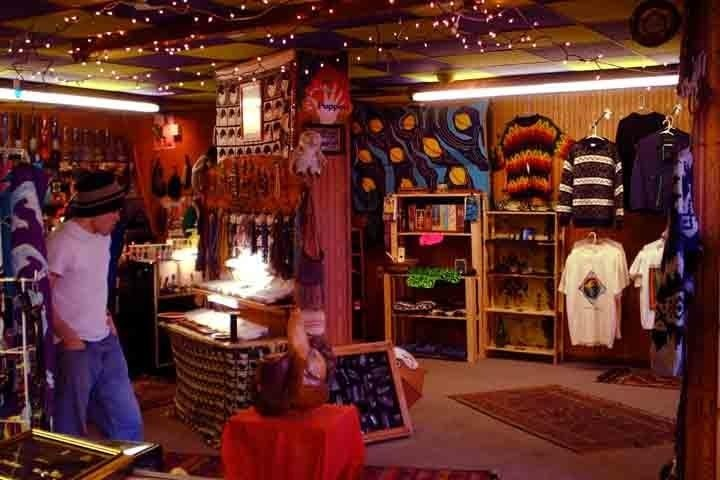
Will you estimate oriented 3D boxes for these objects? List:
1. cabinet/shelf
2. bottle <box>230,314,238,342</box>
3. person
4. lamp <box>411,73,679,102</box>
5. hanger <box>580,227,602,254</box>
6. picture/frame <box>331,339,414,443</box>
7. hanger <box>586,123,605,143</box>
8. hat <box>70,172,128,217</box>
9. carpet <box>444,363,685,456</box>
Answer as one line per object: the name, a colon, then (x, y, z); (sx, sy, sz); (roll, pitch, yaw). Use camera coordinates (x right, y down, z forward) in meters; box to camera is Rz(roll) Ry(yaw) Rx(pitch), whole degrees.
cabinet/shelf: (1.738, 0.538, 8.976); (2.423, 2.364, 0.719); (0, 0, 15)
bottle: (-1.276, 0.886, 6.230); (0.084, 0.295, 0.060); (-5, 8, -29)
person: (-2.091, 0.576, 4.769); (0.634, 2.201, 0.437); (-5, 8, -32)
lamp: (2.309, -1.958, 7.741); (3.118, 0.188, 0.629); (2, 8, 18)
hanger: (3.207, -0.027, 8.478); (0.244, 0.398, 0.216); (10, 3, -1)
picture/frame: (0.132, 1.510, 6.150); (0.957, 1.022, 0.273); (-9, 2, -21)
hanger: (3.194, -1.483, 8.333); (0.262, 0.271, 0.270); (-3, 5, 14)
hat: (-2.079, -0.380, 4.840); (0.402, 0.226, 0.341); (-15, 17, -39)
carpet: (2.302, 1.929, 6.800); (1.526, 0.049, 2.090); (-6, 9, -36)
